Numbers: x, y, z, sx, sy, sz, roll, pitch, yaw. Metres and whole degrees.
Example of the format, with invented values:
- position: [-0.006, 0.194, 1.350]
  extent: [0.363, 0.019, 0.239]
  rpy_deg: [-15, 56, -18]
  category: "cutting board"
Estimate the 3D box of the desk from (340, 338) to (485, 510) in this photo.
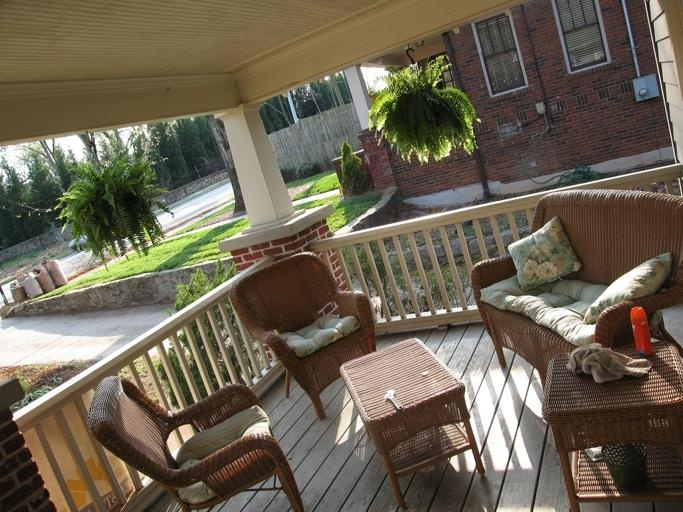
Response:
- position: [0.372, 0.846, 2.832]
  extent: [0.801, 0.815, 1.067]
  rpy_deg: [-17, 13, -5]
  category: "desk"

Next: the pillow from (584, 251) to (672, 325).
- position: [1.604, 0.151, 2.436]
  extent: [0.412, 0.126, 0.429]
  rpy_deg: [-47, -8, -4]
  category: "pillow"

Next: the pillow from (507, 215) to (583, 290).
- position: [1.449, -0.004, 3.160]
  extent: [0.479, 0.482, 0.150]
  rpy_deg: [-31, -31, 24]
  category: "pillow"
